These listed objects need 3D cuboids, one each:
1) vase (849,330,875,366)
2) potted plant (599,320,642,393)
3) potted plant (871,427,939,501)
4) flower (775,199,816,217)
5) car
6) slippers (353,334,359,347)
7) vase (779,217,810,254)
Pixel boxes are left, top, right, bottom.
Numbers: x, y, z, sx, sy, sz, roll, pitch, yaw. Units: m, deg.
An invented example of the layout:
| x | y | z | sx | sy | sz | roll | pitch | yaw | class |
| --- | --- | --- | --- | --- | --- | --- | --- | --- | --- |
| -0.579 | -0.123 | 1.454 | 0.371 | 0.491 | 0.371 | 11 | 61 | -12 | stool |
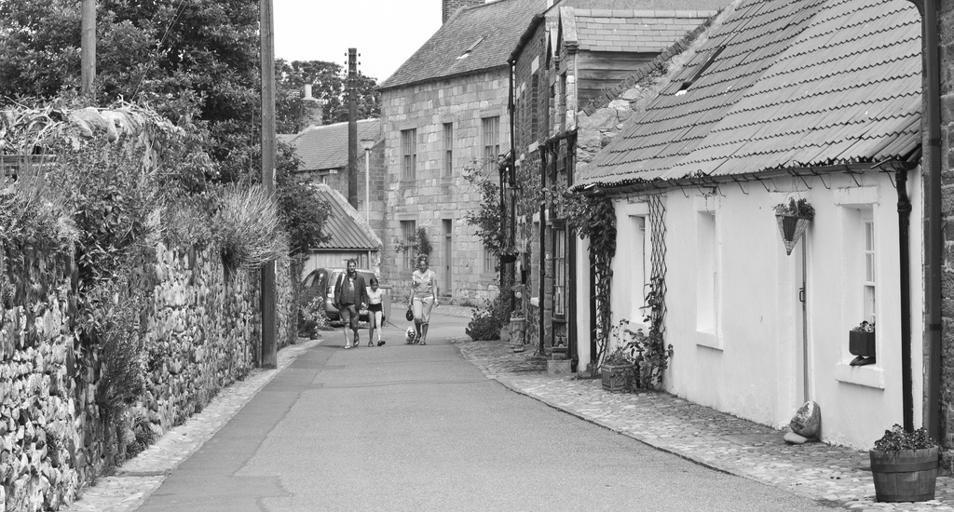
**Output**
| x | y | z | sx | sy | sz | roll | pitch | yaw | class |
| --- | --- | --- | --- | --- | --- | --- | --- | --- | --- |
| 6.018 | 1.459 | 18.747 | 0.411 | 0.573 | 0.196 | 3 | 6 | 29 | vase |
| 2.878 | 2.018 | 24.249 | 0.808 | 1.273 | 1.631 | 0 | 5 | 0 | potted plant |
| 6.002 | 2.978 | 16.792 | 0.957 | 0.962 | 0.414 | -1 | 5 | -9 | potted plant |
| 5.173 | -0.779 | 19.553 | 0.516 | 0.335 | 0.595 | 4 | 7 | 38 | flower |
| -5.199 | 1.277 | 39.827 | 1.555 | 1.461 | 3.204 | -1 | 7 | -14 | car |
| -3.311 | 2.301 | 32.095 | 0.128 | 0.395 | 0.151 | 1 | -10 | 13 | slippers |
| 5.165 | -0.347 | 19.616 | 0.477 | 0.690 | 0.616 | 2 | 6 | 19 | vase |
